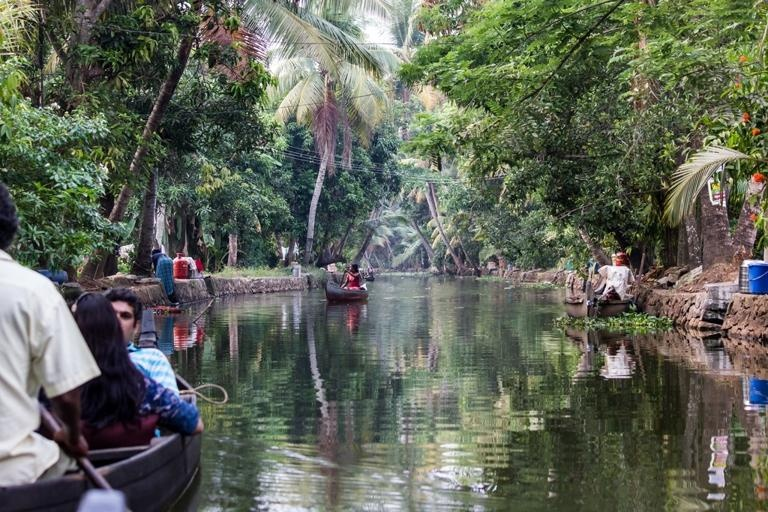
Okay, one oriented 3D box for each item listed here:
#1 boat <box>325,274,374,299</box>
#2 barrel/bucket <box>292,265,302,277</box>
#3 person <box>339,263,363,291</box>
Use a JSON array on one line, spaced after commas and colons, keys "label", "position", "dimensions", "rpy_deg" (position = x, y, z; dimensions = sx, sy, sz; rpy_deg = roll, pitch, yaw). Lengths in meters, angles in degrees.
[{"label": "boat", "position": [-1.366, 1.246, 29.249], "dimensions": [1.448, 0.637, 0.725], "rpy_deg": [9, -10, -41]}, {"label": "barrel/bucket", "position": [-4.509, 0.780, 41.743], "dimensions": [0.492, 0.806, 0.496], "rpy_deg": [0, -4, 0]}, {"label": "person", "position": [-1.210, 0.819, 30.509], "dimensions": [0.664, 1.448, 0.886], "rpy_deg": [2, 1, -5]}]
